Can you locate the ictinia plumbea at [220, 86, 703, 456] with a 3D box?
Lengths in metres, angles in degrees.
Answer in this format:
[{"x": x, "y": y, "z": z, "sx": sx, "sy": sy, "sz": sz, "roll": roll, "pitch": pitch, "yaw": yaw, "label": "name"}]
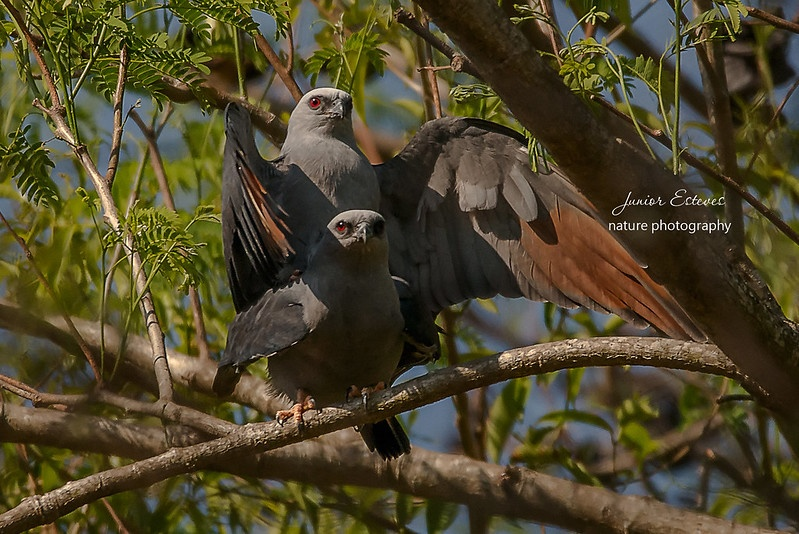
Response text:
[{"x": 0.224, "y": -0.300, "z": 7.600, "sx": 2.256, "sy": 3.610, "sz": 1.375, "roll": 0, "pitch": 2, "yaw": 25, "label": "ictinia plumbea"}]
